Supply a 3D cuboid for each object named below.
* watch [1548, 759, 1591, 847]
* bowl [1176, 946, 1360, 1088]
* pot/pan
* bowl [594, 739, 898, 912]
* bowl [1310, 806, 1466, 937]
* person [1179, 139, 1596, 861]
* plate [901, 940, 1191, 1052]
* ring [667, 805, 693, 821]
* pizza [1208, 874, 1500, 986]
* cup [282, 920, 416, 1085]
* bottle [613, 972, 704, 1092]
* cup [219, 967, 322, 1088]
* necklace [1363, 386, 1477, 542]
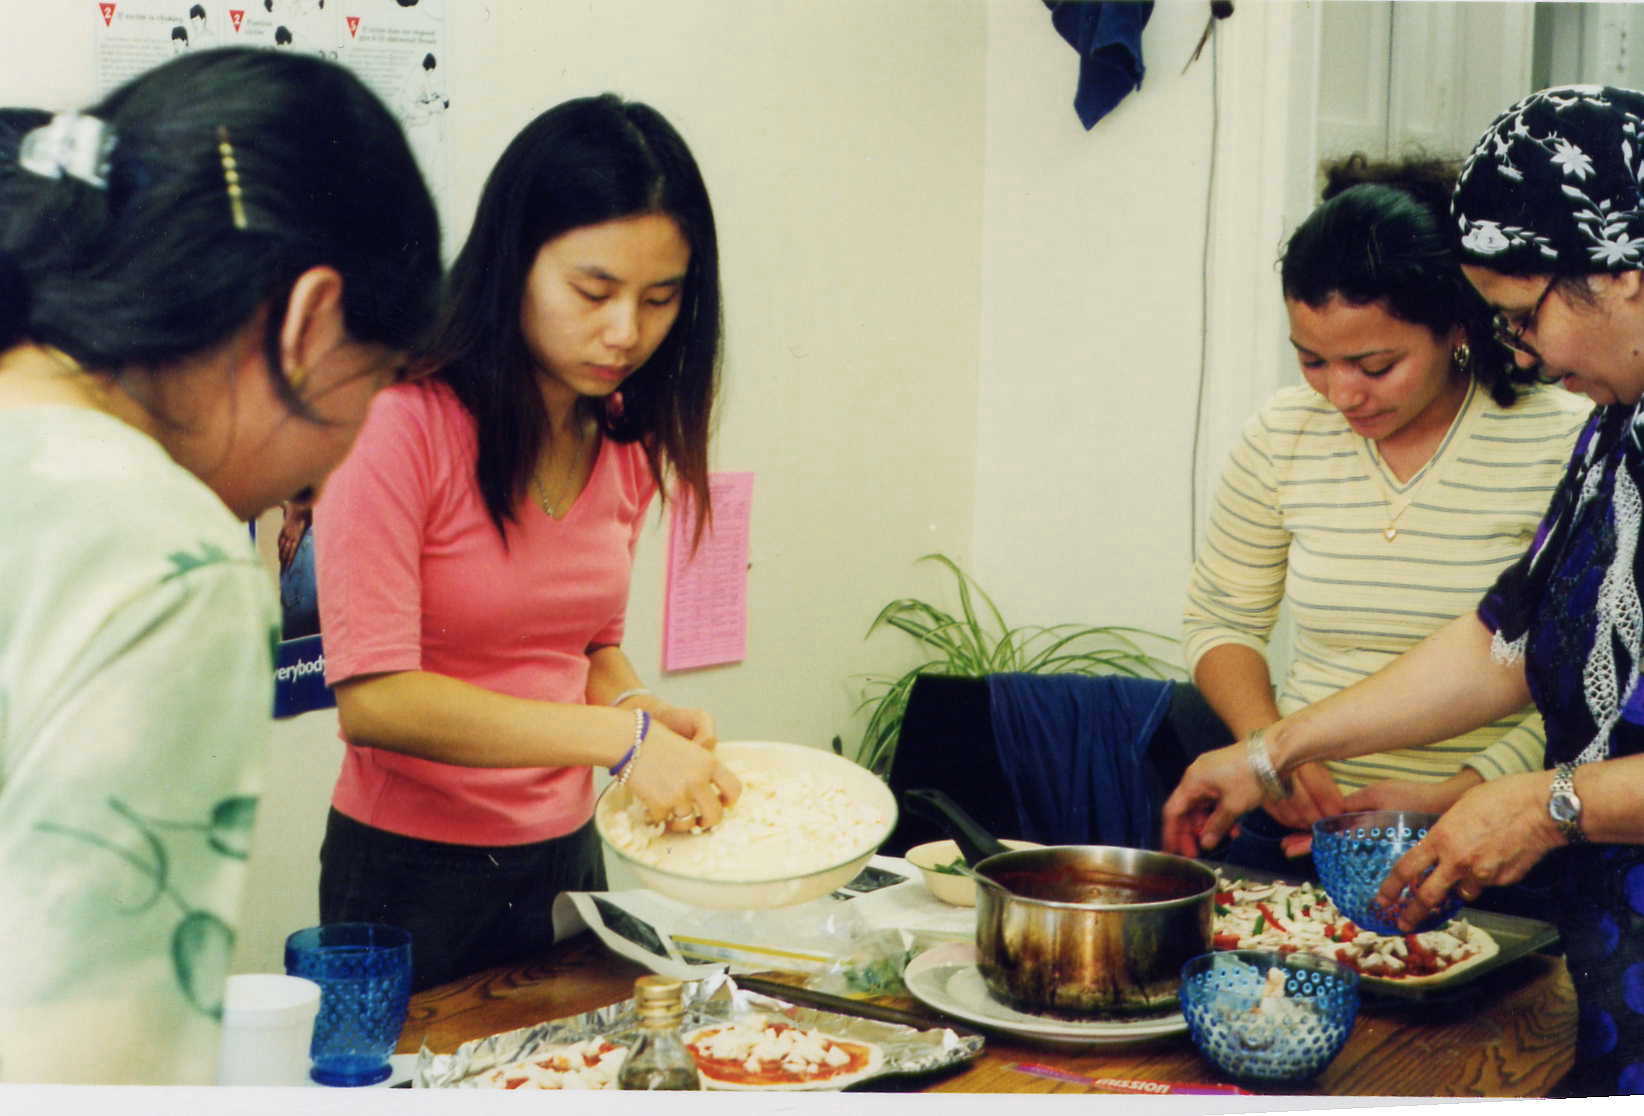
[{"bbox_3d":[1.007,0.333,1.826,0.050,0.102,0.038,7,15,24],"label":"watch"},{"bbox_3d":[0.566,0.566,1.615,0.244,0.132,0.242,10,-25,5],"label":"bowl"},{"bbox_3d":[0.286,0.421,1.706,0.200,0.140,0.338,-3,5,-37],"label":"pot/pan"},{"bbox_3d":[-0.101,0.368,1.852,0.383,0.093,0.389,0,18,0],"label":"bowl"},{"bbox_3d":[0.752,0.415,1.807,0.171,0.110,0.163,0,1,0],"label":"bowl"},{"bbox_3d":[1.006,-0.079,2.376,0.759,1.203,0.706,4,27,27],"label":"person"},{"bbox_3d":[0.195,0.542,1.685,0.200,0.028,0.193,-4,10,-19],"label":"plate"},{"bbox_3d":[-0.188,0.342,1.814,0.020,0.010,0.017,2,5,26],"label":"ring"},{"bbox_3d":[0.718,0.524,1.874,0.251,0.040,0.162,2,10,13],"label":"pizza"},{"bbox_3d":[-0.557,0.513,1.576,0.171,0.178,0.165,3,-18,1],"label":"cup"},{"bbox_3d":[-0.164,0.502,1.443,0.074,0.143,0.100,14,19,41],"label":"bottle"},{"bbox_3d":[-0.589,0.505,1.487,0.128,0.101,0.140,2,-6,0],"label":"cup"},{"bbox_3d":[1.040,-0.186,2.430,0.195,0.271,0.147,21,26,38],"label":"necklace"}]
